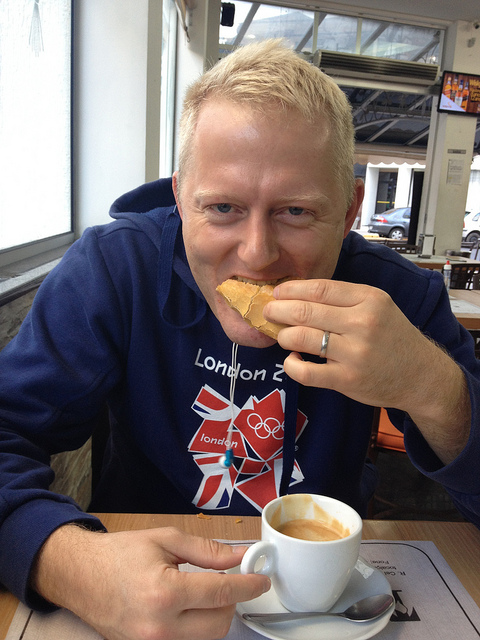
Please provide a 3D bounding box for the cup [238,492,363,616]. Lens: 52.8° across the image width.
[{"bbox_3d":[0.082,0.337,0.670,0.134,0.126,0.180,6,7,35],"label":"cup"}]
